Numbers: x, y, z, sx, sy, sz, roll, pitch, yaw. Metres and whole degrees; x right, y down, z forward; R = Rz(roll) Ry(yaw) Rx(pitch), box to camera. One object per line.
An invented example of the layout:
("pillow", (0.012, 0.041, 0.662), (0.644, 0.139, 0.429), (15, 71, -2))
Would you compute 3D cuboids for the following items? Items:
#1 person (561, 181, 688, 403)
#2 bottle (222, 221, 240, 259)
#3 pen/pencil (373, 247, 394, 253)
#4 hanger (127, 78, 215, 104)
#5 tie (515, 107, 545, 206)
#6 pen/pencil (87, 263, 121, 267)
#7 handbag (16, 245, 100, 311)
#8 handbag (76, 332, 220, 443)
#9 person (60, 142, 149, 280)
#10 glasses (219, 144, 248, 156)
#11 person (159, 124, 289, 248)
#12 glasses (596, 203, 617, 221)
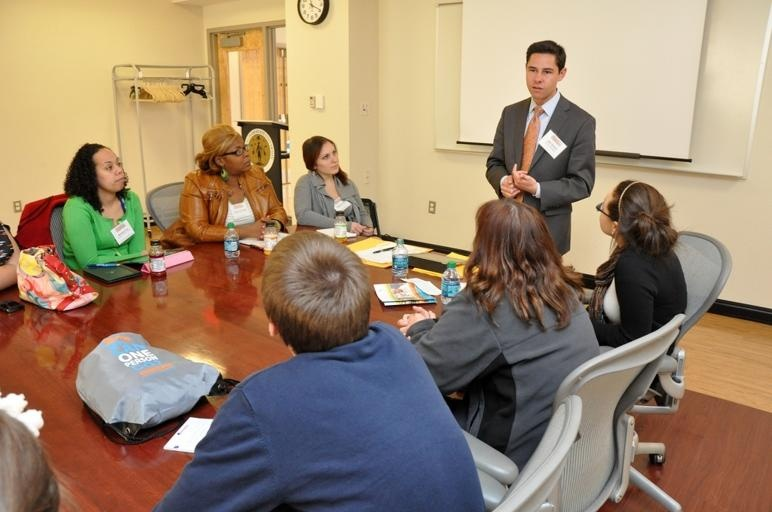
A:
("person", (1.231, 0.278, 2.760), (0.679, 1.331, 0.538), (6, 25, 41))
("bottle", (-0.995, -0.100, 3.347), (0.121, 0.235, 0.124), (3, 19, -1))
("pen/pencil", (-0.010, -0.039, 3.342), (0.180, 0.021, 0.020), (-12, 11, -37))
("hanger", (-2.940, -2.243, 7.115), (1.037, 0.285, 0.778), (-15, 23, -34))
("tie", (1.069, -0.819, 3.933), (0.112, 0.862, 0.096), (12, 8, 2))
("pen/pencil", (-1.662, 0.052, 3.073), (0.144, 0.022, 0.020), (1, 3, -21))
("handbag", (-1.659, 0.110, 2.610), (0.368, 0.282, 0.249), (8, 14, 7))
("handbag", (-0.899, 0.442, 1.972), (0.547, 0.210, 0.493), (18, 17, 33))
("person", (-1.761, -0.274, 3.371), (0.636, 0.837, 0.487), (11, 14, 22))
("glasses", (-1.071, -0.761, 3.737), (0.082, 0.082, 0.218), (10, 22, 30))
("person", (-1.170, -0.467, 3.907), (0.804, 0.959, 0.943), (-2, 15, -24))
("glasses", (1.133, -0.221, 2.653), (0.088, 0.028, 0.088), (25, 21, 37))
